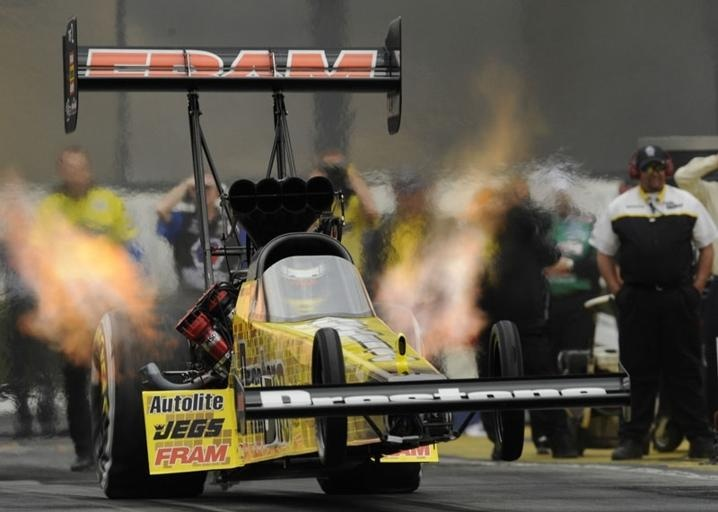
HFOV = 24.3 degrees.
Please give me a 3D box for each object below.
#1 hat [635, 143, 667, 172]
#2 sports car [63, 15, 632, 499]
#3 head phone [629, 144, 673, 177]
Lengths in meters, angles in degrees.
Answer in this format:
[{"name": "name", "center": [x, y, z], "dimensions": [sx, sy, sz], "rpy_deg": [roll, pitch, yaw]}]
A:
[{"name": "hat", "center": [2.582, -0.871, 14.736], "dimensions": [0.285, 0.240, 0.223], "rpy_deg": [-3, -5, 9]}, {"name": "sports car", "center": [-0.629, -0.068, 13.132], "dimensions": [2.508, 4.011, 3.635], "rpy_deg": [1, -6, -28]}, {"name": "head phone", "center": [2.620, -0.834, 14.890], "dimensions": [0.381, 0.242, 0.485], "rpy_deg": [-9, -18, 6]}]
